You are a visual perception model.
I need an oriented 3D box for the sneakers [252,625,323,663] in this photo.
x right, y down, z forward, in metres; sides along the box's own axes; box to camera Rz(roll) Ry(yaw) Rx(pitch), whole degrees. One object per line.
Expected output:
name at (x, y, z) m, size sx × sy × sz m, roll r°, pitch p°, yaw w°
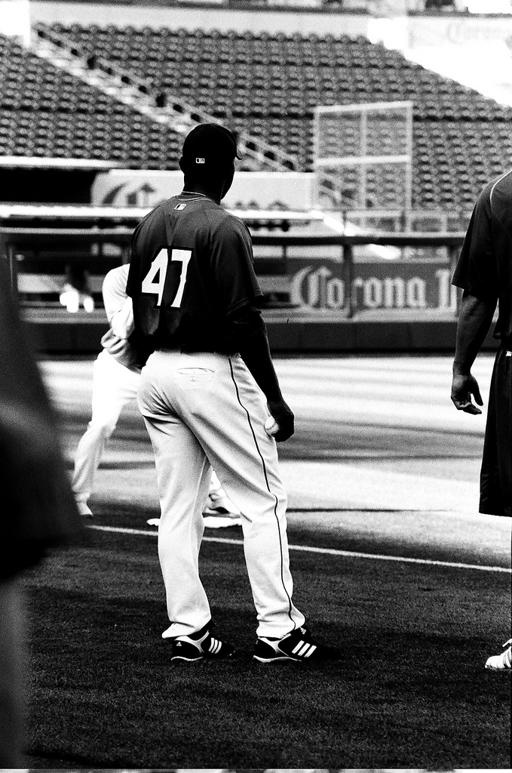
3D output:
sneakers at (0.120, 0.965, 5.929) m, size 0.244 × 0.127 × 0.107 m, roll -3°, pitch 5°, yaw -7°

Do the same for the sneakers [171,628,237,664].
sneakers at (-0.197, 0.956, 5.941) m, size 0.249 × 0.128 × 0.102 m, roll -2°, pitch 1°, yaw -31°

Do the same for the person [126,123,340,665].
person at (-0.140, 0.030, 5.973) m, size 0.618 × 1.835 × 0.920 m, roll -4°, pitch 21°, yaw -5°
